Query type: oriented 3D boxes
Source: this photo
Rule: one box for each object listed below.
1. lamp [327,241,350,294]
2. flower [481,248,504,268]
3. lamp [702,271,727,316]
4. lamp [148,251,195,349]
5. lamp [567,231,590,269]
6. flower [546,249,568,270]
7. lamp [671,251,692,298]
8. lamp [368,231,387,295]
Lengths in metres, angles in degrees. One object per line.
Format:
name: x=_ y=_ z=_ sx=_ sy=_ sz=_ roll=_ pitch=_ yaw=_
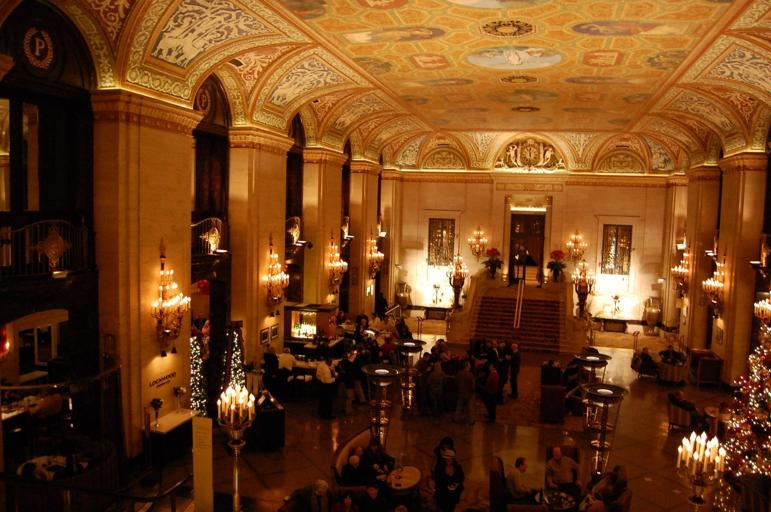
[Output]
lamp: x=-1.670 y=0.454 z=20.607 sx=0.543 sy=1.650 sz=1.029 roll=3 pitch=1 yaw=6
flower: x=4.824 y=0.133 z=26.582 sx=0.899 sy=0.922 sz=0.802 roll=0 pitch=-3 yaw=21
lamp: x=10.312 y=1.215 z=18.774 sx=0.526 sy=1.546 sz=0.733 roll=3 pitch=1 yaw=24
lamp: x=-4.765 y=1.102 z=13.327 sx=0.367 sy=1.920 sz=0.877 roll=3 pitch=1 yaw=15
lamp: x=8.369 y=-0.243 z=26.306 sx=0.909 sy=1.579 sz=0.898 roll=-7 pitch=13 yaw=-37
flower: x=7.480 y=0.189 z=25.965 sx=0.825 sy=0.951 sz=0.827 roll=1 pitch=1 yaw=12
lamp: x=10.811 y=0.700 z=21.807 sx=0.423 sy=1.720 sz=0.986 roll=3 pitch=1 yaw=19
lamp: x=-0.393 y=0.258 z=24.163 sx=0.776 sy=2.721 sz=0.689 roll=3 pitch=2 yaw=5
